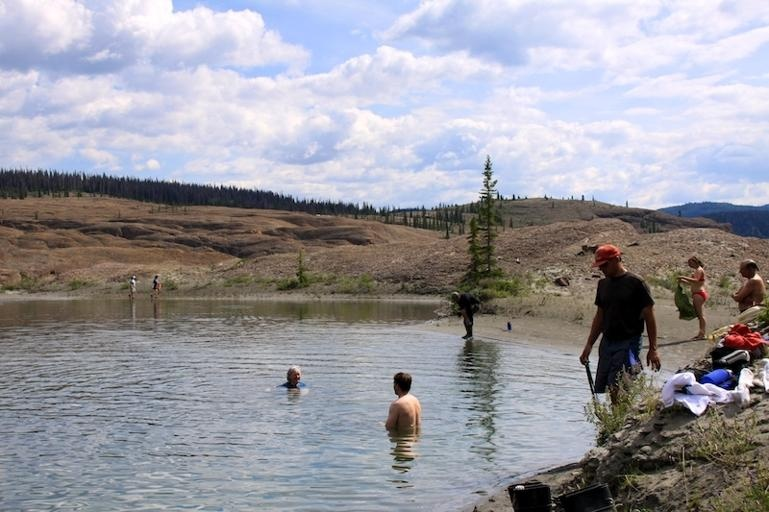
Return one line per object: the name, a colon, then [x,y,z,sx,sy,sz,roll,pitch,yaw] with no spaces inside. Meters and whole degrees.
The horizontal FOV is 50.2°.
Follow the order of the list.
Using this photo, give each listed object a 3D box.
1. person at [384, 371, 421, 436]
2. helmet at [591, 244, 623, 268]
person: [0.493,3.941,22.216,0.988,1.437,1.266,-1,6,2]
helmet: [5.341,-0.023,19.432,0.474,0.345,0.703,-3,4,41]
